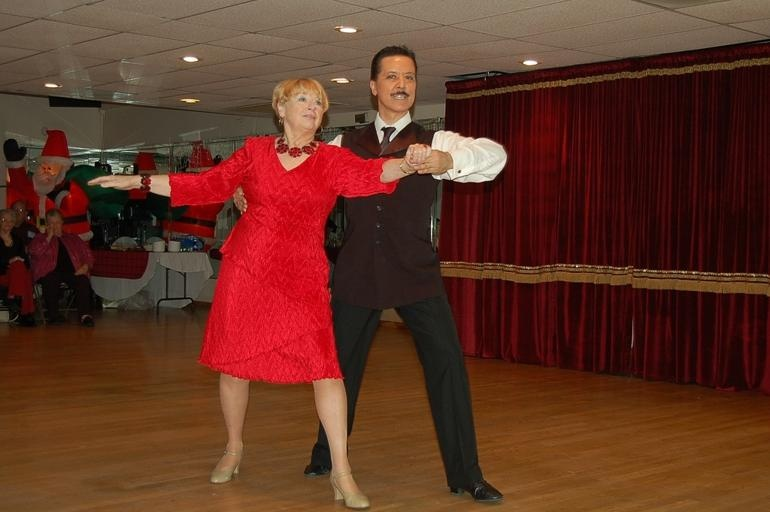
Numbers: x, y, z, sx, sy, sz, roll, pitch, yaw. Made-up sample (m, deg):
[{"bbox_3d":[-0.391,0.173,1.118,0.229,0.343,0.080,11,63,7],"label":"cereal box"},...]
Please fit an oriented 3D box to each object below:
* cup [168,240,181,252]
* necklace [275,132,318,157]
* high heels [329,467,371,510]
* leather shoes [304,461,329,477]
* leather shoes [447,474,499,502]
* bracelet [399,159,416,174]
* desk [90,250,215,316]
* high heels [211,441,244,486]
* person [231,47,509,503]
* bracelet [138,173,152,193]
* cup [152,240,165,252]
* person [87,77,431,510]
[{"bbox_3d":[-3.560,-0.173,9.230,0.197,0.147,0.152,0,-4,2],"label":"cup"},{"bbox_3d":[-0.407,-0.508,2.518,0.199,0.099,0.104,-3,10,-12],"label":"necklace"},{"bbox_3d":[-0.191,1.117,2.674,0.098,0.160,0.301,1,2,-40],"label":"high heels"},{"bbox_3d":[-0.375,1.171,3.002,0.072,0.051,0.127,6,-15,-28],"label":"leather shoes"},{"bbox_3d":[0.423,1.168,2.769,0.291,0.125,0.113,-3,0,25],"label":"leather shoes"},{"bbox_3d":[0.095,-0.387,2.347,0.044,0.062,0.105,-3,10,-12],"label":"bracelet"},{"bbox_3d":[-3.835,0.471,9.522,1.375,0.728,1.350,-2,-7,15],"label":"desk"},{"bbox_3d":[-0.824,1.103,2.934,0.107,0.144,0.323,4,3,13],"label":"high heels"},{"bbox_3d":[-0.108,0.102,2.589,1.278,2.168,1.065,4,8,33],"label":"person"},{"bbox_3d":[-1.076,-0.331,2.425,0.067,0.068,0.024,2,2,-15],"label":"bracelet"},{"bbox_3d":[-3.764,-0.166,9.086,0.170,0.195,0.198,1,-7,-8],"label":"cup"},{"bbox_3d":[-0.483,0.211,2.614,1.160,2.068,0.335,0,10,4],"label":"person"}]
